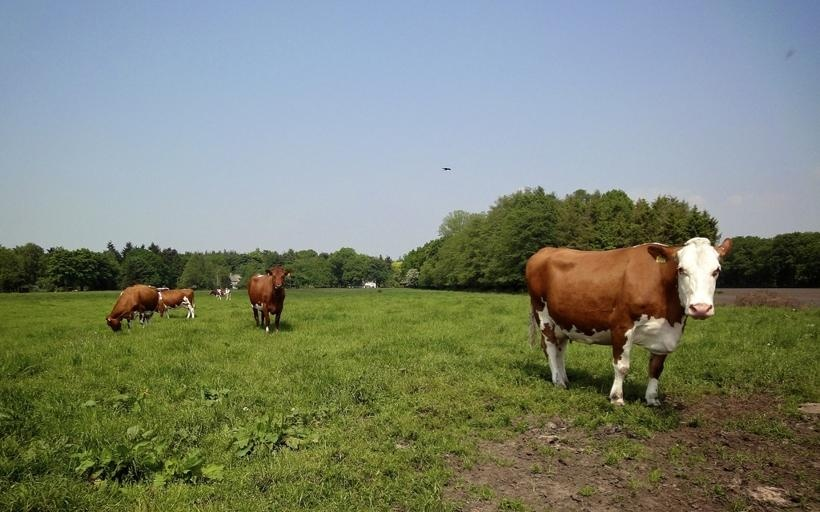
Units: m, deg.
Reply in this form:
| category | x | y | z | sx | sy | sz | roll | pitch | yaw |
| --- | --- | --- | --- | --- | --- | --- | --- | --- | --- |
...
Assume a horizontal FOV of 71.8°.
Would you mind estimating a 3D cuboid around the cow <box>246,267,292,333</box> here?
| category | x | y | z | sx | sy | sz | roll | pitch | yaw |
| --- | --- | --- | --- | --- | --- | --- | --- | --- | --- |
| cow | -6.927 | 1.994 | 27.401 | 1.668 | 3.021 | 3.197 | -1 | -1 | -20 |
